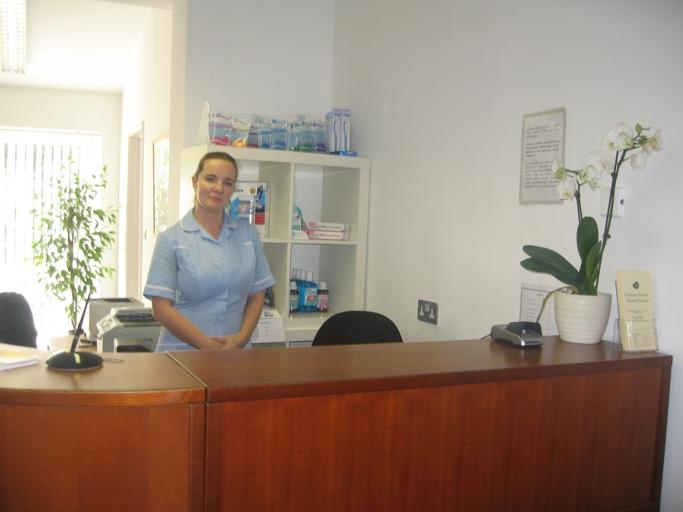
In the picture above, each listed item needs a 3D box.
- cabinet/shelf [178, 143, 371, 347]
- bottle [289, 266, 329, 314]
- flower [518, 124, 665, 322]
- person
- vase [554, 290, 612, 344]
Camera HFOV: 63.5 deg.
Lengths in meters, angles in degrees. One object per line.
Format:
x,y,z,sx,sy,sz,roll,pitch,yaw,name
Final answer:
-0.392,-0.070,3.268,1.203,1.623,0.512,-1,2,-25,cabinet/shelf
-0.258,0.240,3.906,0.252,0.277,0.262,0,6,-29,bottle
0.961,-0.100,2.142,0.408,0.777,0.364,-8,22,-6,flower
-0.624,-0.046,2.683,0.440,0.907,0.521,6,6,20,person
0.965,0.247,2.232,0.207,0.204,0.223,1,3,19,vase
